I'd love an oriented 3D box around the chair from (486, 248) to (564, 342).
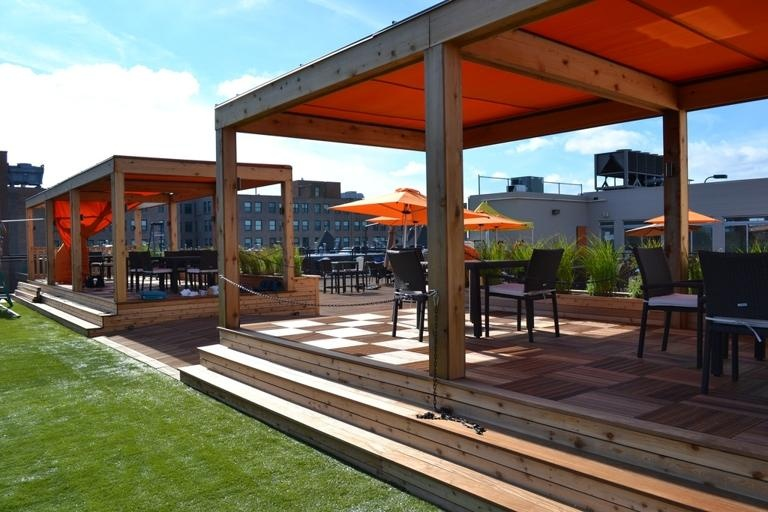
[{"bbox_3d":[1.722,0.474,6.774,0.991,1.105,0.645,-7,7,9],"label":"chair"}]
